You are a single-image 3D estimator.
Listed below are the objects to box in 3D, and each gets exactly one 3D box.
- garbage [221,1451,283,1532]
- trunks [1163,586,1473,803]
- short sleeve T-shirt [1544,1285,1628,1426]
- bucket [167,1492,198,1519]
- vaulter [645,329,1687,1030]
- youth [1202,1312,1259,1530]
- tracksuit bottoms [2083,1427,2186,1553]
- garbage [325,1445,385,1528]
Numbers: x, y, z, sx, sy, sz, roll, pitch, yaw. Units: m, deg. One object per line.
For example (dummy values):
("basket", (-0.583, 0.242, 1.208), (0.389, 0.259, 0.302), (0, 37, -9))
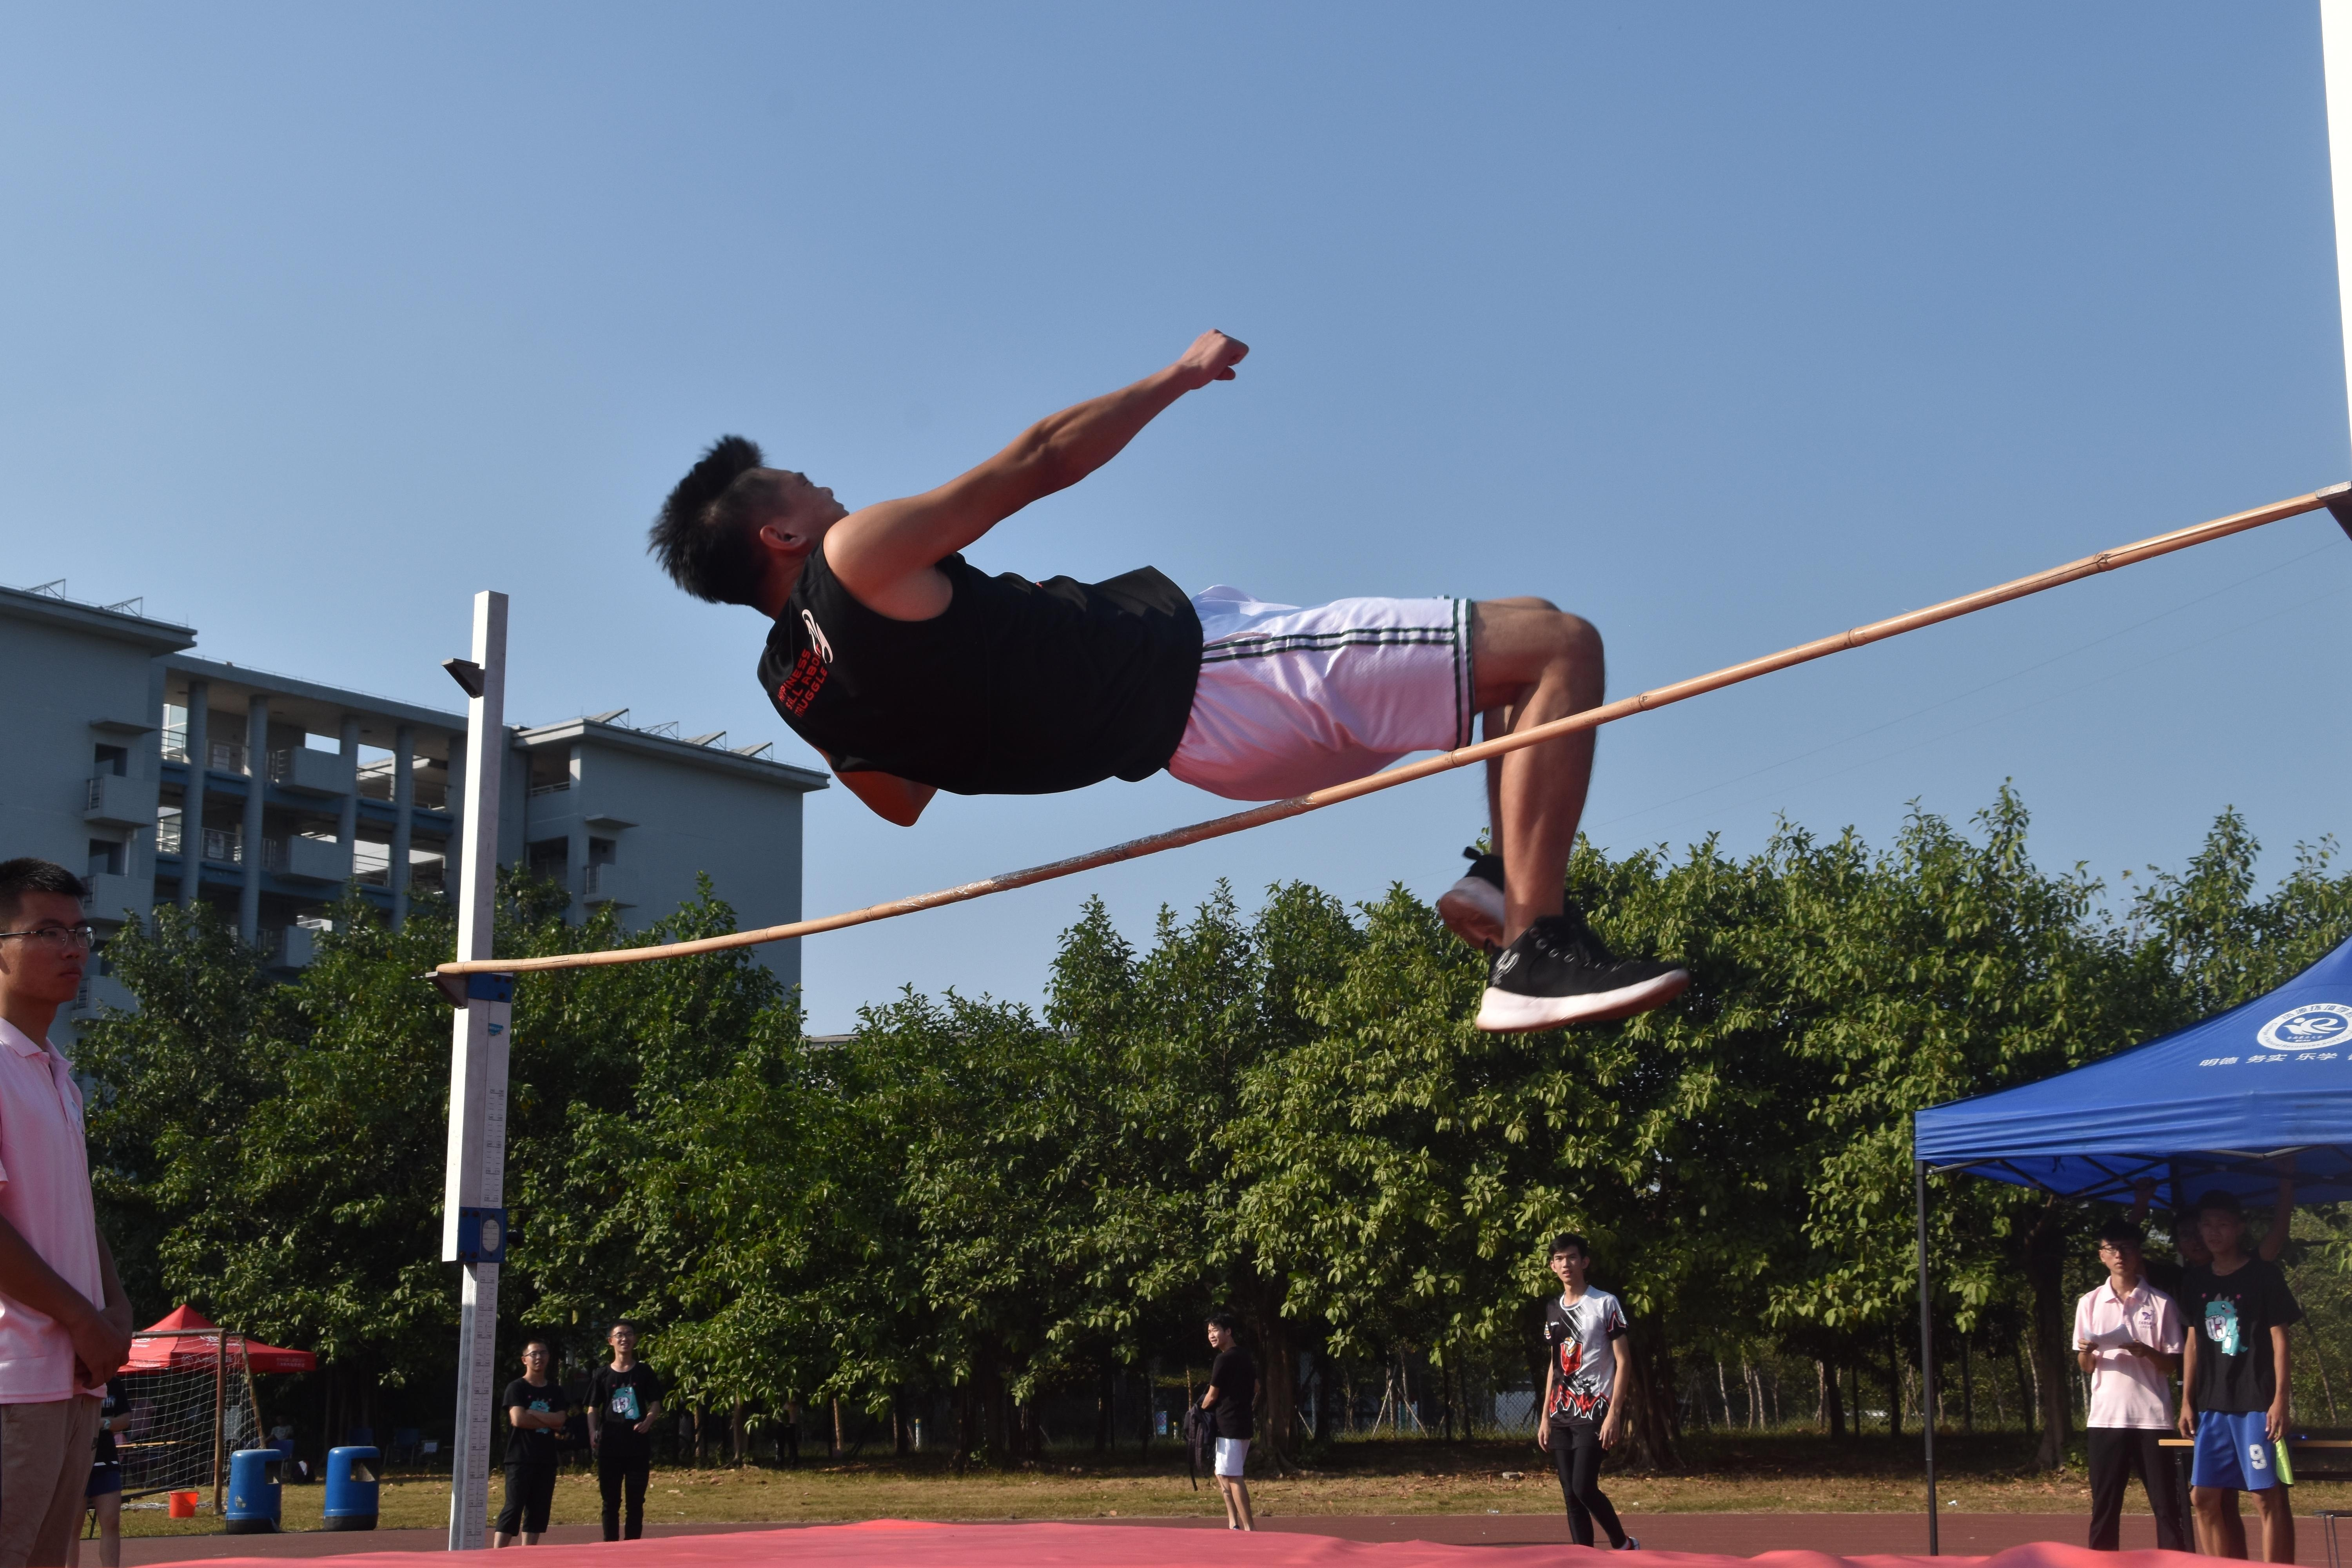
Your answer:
("garbage", (-12.080, 9.311, 36.286), (0.714, 0.864, 1.192), (-9, 5, -9))
("trunks", (1.227, -0.955, 22.812), (2.117, 0.915, 1.829), (-9, -12, 7))
("short sleeve T-shirt", (4.111, 5.747, 27.852), (0.795, 1.210, 0.457), (-7, 6, 5))
("bucket", (-13.726, 9.956, 38.447), (0.471, 0.347, 0.471), (-2, -18, -1))
("vaulter", (-0.220, -1.423, 21.909), (8.770, 5.325, 4.589), (3, -29, -4))
("youth", (0.654, 7.633, 32.969), (0.809, 2.596, 0.784), (0, -11, 4))
("tracksuit bottoms", (9.787, 7.119, 28.376), (0.954, 1.749, 0.515), (-3, 27, 18))
("garbage", (-11.070, 9.426, 37.195), (0.745, 0.806, 1.222), (-10, 6, -19))
